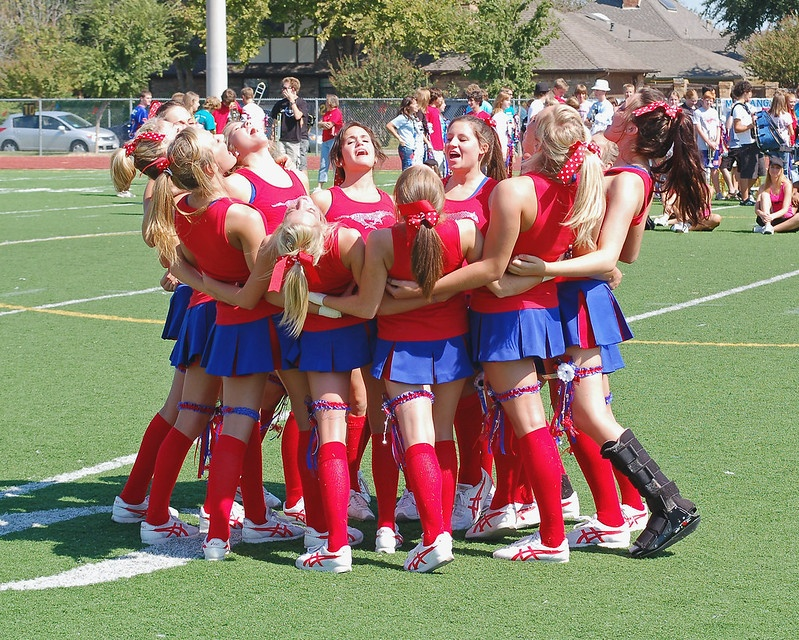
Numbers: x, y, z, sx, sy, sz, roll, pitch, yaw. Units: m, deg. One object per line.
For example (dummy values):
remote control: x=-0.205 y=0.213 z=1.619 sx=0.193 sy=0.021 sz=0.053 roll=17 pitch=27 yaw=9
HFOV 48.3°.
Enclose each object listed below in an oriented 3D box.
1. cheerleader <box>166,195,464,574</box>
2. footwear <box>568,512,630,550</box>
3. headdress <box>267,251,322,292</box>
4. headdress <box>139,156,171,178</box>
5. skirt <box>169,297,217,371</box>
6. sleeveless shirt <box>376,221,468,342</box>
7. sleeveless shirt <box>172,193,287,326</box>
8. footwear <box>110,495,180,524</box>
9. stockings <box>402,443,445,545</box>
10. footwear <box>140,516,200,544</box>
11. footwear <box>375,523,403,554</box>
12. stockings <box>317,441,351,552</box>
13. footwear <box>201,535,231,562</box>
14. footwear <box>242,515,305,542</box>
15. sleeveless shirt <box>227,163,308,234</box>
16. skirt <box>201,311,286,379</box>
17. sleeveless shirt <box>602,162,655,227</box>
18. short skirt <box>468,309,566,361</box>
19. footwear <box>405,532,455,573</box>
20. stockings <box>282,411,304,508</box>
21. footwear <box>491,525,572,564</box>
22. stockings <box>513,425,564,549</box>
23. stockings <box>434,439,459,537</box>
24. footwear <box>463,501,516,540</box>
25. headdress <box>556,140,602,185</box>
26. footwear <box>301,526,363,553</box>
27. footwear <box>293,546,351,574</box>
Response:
cheerleader: x=-0.178 y=0.268 z=3.885 sx=0.943 sy=1.596 sz=0.483 roll=3 pitch=12 yaw=8
footwear: x=0.918 y=0.981 z=4.182 sx=0.323 sy=0.153 sz=0.126 roll=1 pitch=-1 yaw=8
headdress: x=-0.437 y=-0.222 z=3.760 sx=0.225 sy=0.230 sz=0.144 roll=-2 pitch=22 yaw=-1
headdress: x=-1.105 y=-0.688 z=4.028 sx=0.106 sy=0.076 sz=0.136 roll=-29 pitch=8 yaw=-39
skirt: x=-0.944 y=0.019 z=4.254 sx=0.148 sy=0.245 sz=0.235 roll=16 pitch=5 yaw=39
sleeveless shirt: x=0.089 y=-0.175 z=3.783 sx=0.397 sy=0.561 sz=0.285 roll=-4 pitch=12 yaw=-8
sleeveless shirt: x=-0.753 y=-0.274 z=3.956 sx=0.285 sy=0.539 sz=0.404 roll=-29 pitch=29 yaw=-31
footwear: x=-1.262 y=0.917 z=4.455 sx=0.368 sy=0.173 sz=0.138 roll=0 pitch=0 yaw=-21
stockings: x=0.110 y=0.731 z=3.829 sx=0.179 sy=0.411 sz=0.223 roll=1 pitch=12 yaw=-2
footwear: x=-1.087 y=0.991 z=4.250 sx=0.294 sy=0.155 sz=0.107 roll=-1 pitch=2 yaw=-36
footwear: x=-0.060 y=0.995 z=4.046 sx=0.064 sy=0.076 sz=0.171 roll=1 pitch=2 yaw=8
stockings: x=-0.279 y=0.790 z=3.835 sx=0.121 sy=0.452 sz=0.136 roll=-4 pitch=-17 yaw=0
footwear: x=-0.822 y=1.008 z=3.949 sx=0.066 sy=0.063 sz=0.141 roll=1 pitch=4 yaw=-2
footwear: x=-0.620 y=1.002 z=4.306 sx=0.305 sy=0.155 sz=0.115 roll=0 pitch=-2 yaw=-20
sleeveless shirt: x=-0.596 y=-0.604 z=4.358 sx=0.278 sy=0.375 sz=0.199 roll=-22 pitch=31 yaw=-24
skirt: x=-0.742 y=0.070 z=4.122 sx=0.308 sy=0.353 sz=0.493 roll=-6 pitch=12 yaw=-25
sleeveless shirt: x=1.055 y=-0.603 z=4.147 sx=0.261 sy=0.304 sz=0.209 roll=-11 pitch=-26 yaw=24
short skirt: x=0.542 y=0.054 z=3.985 sx=0.394 sy=0.275 sz=0.303 roll=-4 pitch=11 yaw=-12
footwear: x=0.126 y=1.007 z=3.873 sx=0.104 sy=0.137 sz=0.282 roll=-7 pitch=-16 yaw=-35
stockings: x=-0.547 y=0.718 z=4.477 sx=0.116 sy=0.523 sz=0.147 roll=-2 pitch=0 yaw=28
footwear: x=0.597 y=0.995 z=3.964 sx=0.375 sy=0.165 sz=0.133 roll=1 pitch=-11 yaw=6
stockings: x=0.619 y=0.773 z=3.908 sx=0.219 sy=0.592 sz=0.194 roll=-4 pitch=-1 yaw=23
stockings: x=0.216 y=0.739 z=3.996 sx=0.112 sy=0.385 sz=0.155 roll=-2 pitch=5 yaw=26
footwear: x=0.408 y=0.968 z=4.296 sx=0.109 sy=0.159 sz=0.318 roll=10 pitch=-25 yaw=-40
headdress: x=0.765 y=-0.658 z=3.773 sx=0.118 sy=0.219 sz=0.083 roll=25 pitch=-2 yaw=34
footwear: x=-0.302 y=0.987 z=4.095 sx=0.280 sy=0.129 sz=0.114 roll=-5 pitch=7 yaw=-20
footwear: x=-0.329 y=1.019 z=3.867 sx=0.236 sy=0.119 sz=0.100 roll=1 pitch=-4 yaw=20
